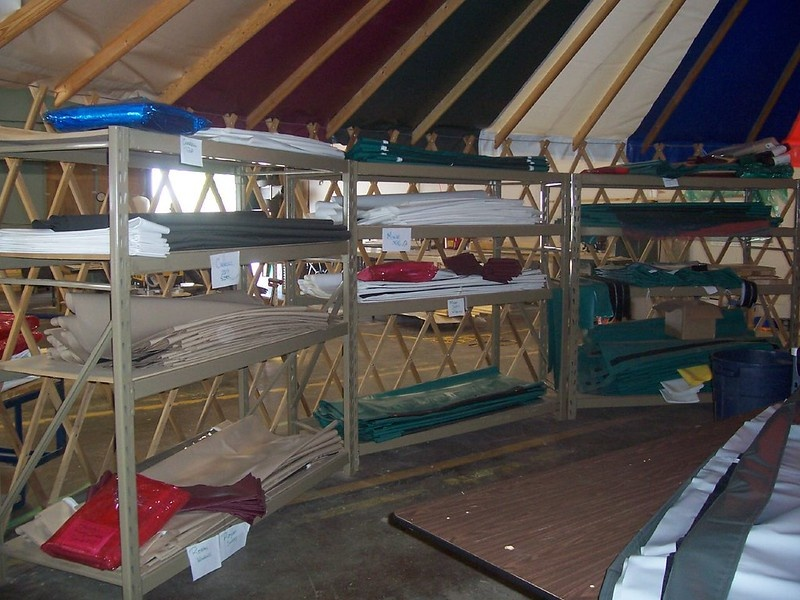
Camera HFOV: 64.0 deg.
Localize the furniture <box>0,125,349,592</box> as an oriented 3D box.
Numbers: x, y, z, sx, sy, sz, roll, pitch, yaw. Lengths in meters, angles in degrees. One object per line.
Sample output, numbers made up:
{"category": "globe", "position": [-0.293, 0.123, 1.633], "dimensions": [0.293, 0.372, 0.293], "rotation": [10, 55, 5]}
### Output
{"category": "furniture", "position": [-0.878, 0.223, 2.645], "dimensions": [0.637, 1.701, 1.315], "rotation": [1, 10, 27]}
